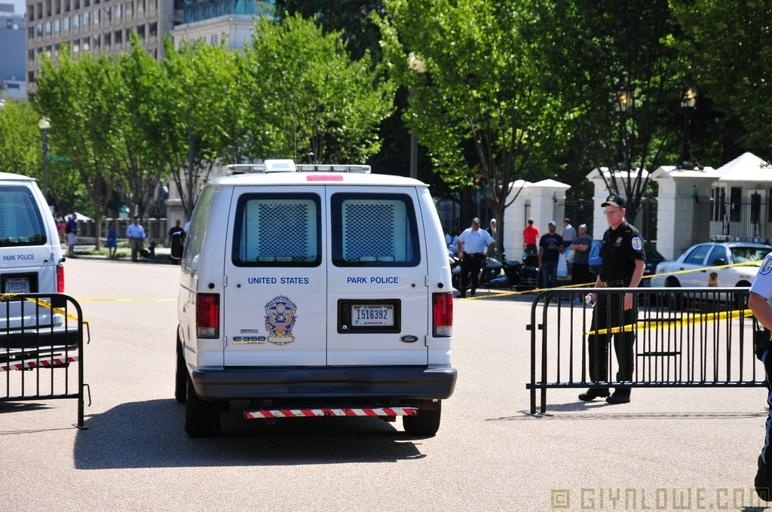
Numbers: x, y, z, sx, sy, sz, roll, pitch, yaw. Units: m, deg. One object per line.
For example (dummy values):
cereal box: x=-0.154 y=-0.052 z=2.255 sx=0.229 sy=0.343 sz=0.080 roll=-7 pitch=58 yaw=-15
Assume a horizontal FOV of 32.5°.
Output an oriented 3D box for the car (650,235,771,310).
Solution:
car: x=7.660 y=0.394 z=30.630 sx=1.912 sy=1.256 sz=4.166 roll=1 pitch=-4 yaw=-19

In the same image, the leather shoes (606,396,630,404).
leather shoes: x=3.535 y=2.181 z=20.266 sx=0.353 sy=0.124 sz=0.119 roll=4 pitch=-6 yaw=-12

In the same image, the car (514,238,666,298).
car: x=5.546 y=0.337 z=37.071 sx=4.067 sy=1.103 sz=1.688 roll=1 pitch=-2 yaw=5

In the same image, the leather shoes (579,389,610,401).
leather shoes: x=3.201 y=2.115 z=20.355 sx=0.575 sy=0.217 sz=0.176 roll=1 pitch=4 yaw=-8
